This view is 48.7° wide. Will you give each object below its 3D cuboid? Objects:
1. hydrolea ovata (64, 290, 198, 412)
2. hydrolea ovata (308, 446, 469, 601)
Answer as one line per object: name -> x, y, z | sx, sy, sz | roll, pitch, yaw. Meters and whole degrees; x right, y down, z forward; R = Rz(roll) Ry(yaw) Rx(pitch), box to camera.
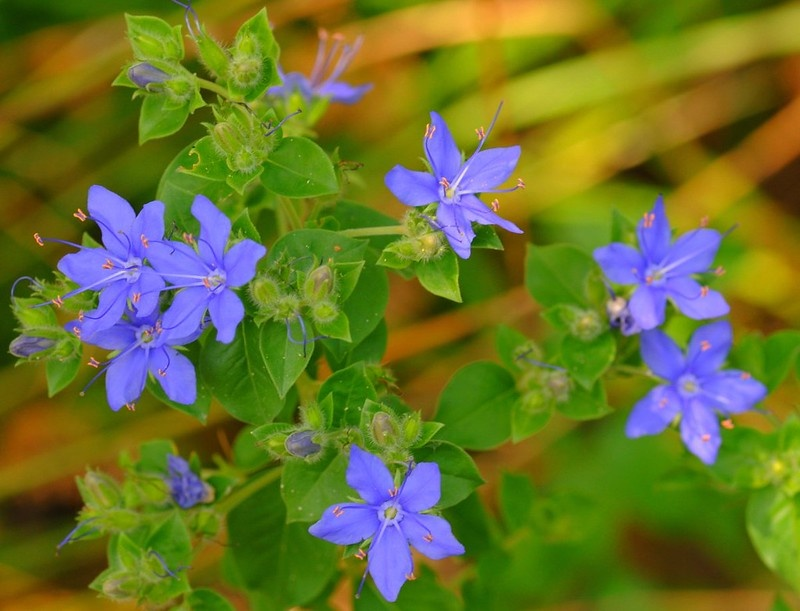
hydrolea ovata -> -1.152, 0.211, 3.919 | 0.463, 0.501, 0.196 | 23, 9, 19
hydrolea ovata -> -0.032, 0.843, 4.039 | 0.639, 0.691, 0.253 | -41, -3, 14
